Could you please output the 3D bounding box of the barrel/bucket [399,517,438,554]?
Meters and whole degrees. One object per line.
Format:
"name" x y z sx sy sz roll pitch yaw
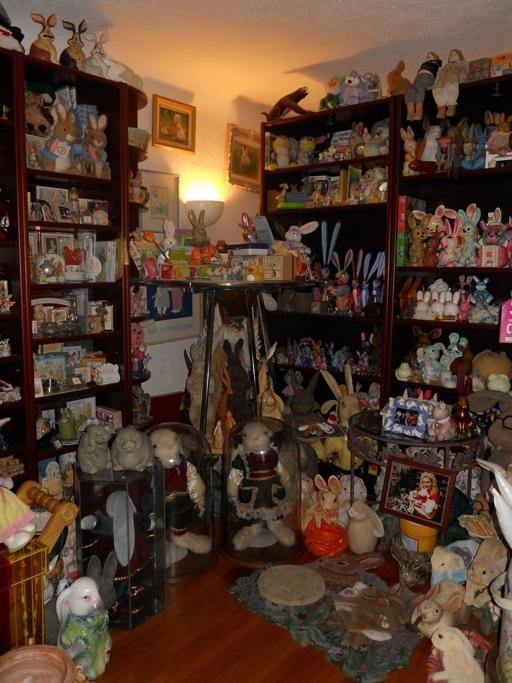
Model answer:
"barrel/bucket" 0.661 0.813 2.211 0.142 0.146 0.137 -1 -33 -1

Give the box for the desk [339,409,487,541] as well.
"desk" 0.684 0.533 2.380 0.555 0.601 0.563 0 9 14
